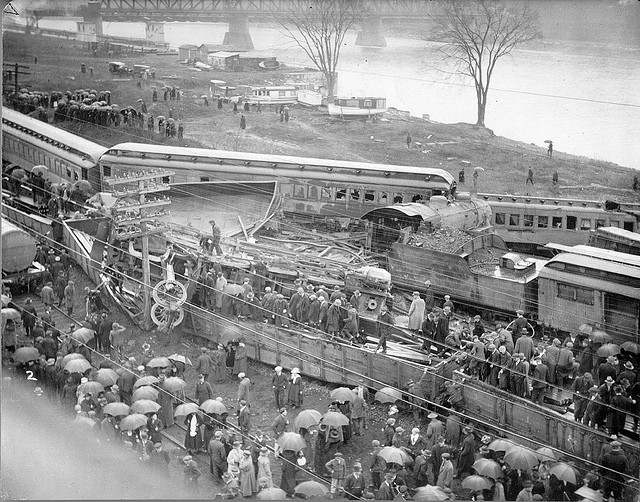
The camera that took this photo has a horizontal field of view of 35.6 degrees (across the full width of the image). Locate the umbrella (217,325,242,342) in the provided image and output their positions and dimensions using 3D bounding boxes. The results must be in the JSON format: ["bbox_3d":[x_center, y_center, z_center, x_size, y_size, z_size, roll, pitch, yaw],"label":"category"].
[{"bbox_3d":[-2.683,2.409,28.867,0.395,0.206,0.535,-2,9,-43],"label":"umbrella"}]

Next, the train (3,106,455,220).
[{"bbox_3d":[-3.030,-3.304,38.553,13.584,2.334,2.276,11,25,20],"label":"train"}]

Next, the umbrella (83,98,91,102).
[{"bbox_3d":[-10.738,-6.893,45.819,0.368,0.182,0.318,14,14,42],"label":"umbrella"}]

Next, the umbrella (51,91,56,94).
[{"bbox_3d":[-12.440,-7.376,46.546,0.182,0.062,0.314,0,11,-24],"label":"umbrella"}]

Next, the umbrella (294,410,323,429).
[{"bbox_3d":[-0.274,4.294,25.335,0.679,0.393,0.517,2,10,-15],"label":"umbrella"}]

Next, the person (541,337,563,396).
[{"bbox_3d":[6.315,3.103,27.287,0.562,1.227,0.579,10,-7,34],"label":"person"}]

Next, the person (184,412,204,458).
[{"bbox_3d":[-3.285,4.728,25.945,0.537,1.312,0.472,4,15,8],"label":"person"}]

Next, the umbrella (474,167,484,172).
[{"bbox_3d":[6.517,-3.291,40.730,0.366,0.169,0.268,6,10,10],"label":"umbrella"}]

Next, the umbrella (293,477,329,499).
[{"bbox_3d":[-0.199,5.647,23.576,0.747,0.360,0.337,4,10,-1],"label":"umbrella"}]

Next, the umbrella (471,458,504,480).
[{"bbox_3d":[4.029,5.170,23.839,0.493,0.364,0.503,9,42,-8],"label":"umbrella"}]

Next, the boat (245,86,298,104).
[{"bbox_3d":[-2.113,-6.805,43.853,1.643,0.617,0.876,-1,24,2],"label":"boat"}]

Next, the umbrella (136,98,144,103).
[{"bbox_3d":[-8.126,-6.763,45.086,0.334,0.207,0.169,4,10,-1],"label":"umbrella"}]

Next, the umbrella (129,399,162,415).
[{"bbox_3d":[-4.476,3.995,25.394,0.712,0.302,0.502,3,10,-9],"label":"umbrella"}]

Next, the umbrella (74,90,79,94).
[{"bbox_3d":[-11.333,-7.366,46.481,0.217,0.178,0.245,4,10,-5],"label":"umbrella"}]

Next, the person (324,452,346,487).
[{"bbox_3d":[0.409,5.338,24.500,0.485,0.759,0.362,5,10,3],"label":"person"}]

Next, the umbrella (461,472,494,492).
[{"bbox_3d":[3.791,5.527,23.783,0.647,0.323,0.655,-1,9,-3],"label":"umbrella"}]

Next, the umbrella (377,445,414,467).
[{"bbox_3d":[1.850,5.063,24.354,0.835,0.586,0.887,6,10,6],"label":"umbrella"}]

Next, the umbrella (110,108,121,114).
[{"bbox_3d":[-9.188,-6.327,45.042,0.288,0.256,0.291,27,45,18],"label":"umbrella"}]

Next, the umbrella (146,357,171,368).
[{"bbox_3d":[-4.416,3.112,27.396,0.635,0.292,0.366,3,10,-9],"label":"umbrella"}]

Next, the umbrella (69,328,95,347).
[{"bbox_3d":[-6.882,2.504,28.802,0.538,0.396,1.146,4,10,-4],"label":"umbrella"}]

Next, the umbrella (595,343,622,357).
[{"bbox_3d":[7.959,2.762,27.403,0.629,0.328,0.650,5,10,3],"label":"umbrella"}]

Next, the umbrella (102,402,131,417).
[{"bbox_3d":[-5.108,4.022,25.258,0.420,0.151,0.412,-1,10,-37],"label":"umbrella"}]

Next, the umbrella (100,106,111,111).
[{"bbox_3d":[-9.617,-6.316,44.607,0.445,0.160,0.311,9,11,21],"label":"umbrella"}]

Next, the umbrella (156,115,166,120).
[{"bbox_3d":[-7.180,-5.965,44.986,0.400,0.161,0.139,8,10,17],"label":"umbrella"}]

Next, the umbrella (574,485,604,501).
[{"bbox_3d":[6.487,5.844,24.010,0.614,0.180,0.384,13,13,38],"label":"umbrella"}]

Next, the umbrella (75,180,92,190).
[{"bbox_3d":[-8.906,-2.456,37.626,0.471,0.330,0.852,4,10,-2],"label":"umbrella"}]

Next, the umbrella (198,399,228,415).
[{"bbox_3d":[-2.768,4.050,25.587,0.727,0.415,0.428,6,10,5],"label":"umbrella"}]

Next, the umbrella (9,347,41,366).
[{"bbox_3d":[-8.123,2.886,27.598,0.517,0.211,0.506,-11,22,-32],"label":"umbrella"}]

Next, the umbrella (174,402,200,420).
[{"bbox_3d":[-3.448,4.080,25.558,0.376,0.313,0.385,-4,7,-8],"label":"umbrella"}]

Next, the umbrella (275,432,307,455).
[{"bbox_3d":[-0.720,4.779,24.590,0.683,0.570,0.490,4,10,-3],"label":"umbrella"}]

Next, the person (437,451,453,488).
[{"bbox_3d":[3.076,5.275,24.306,0.339,0.807,0.961,6,10,7],"label":"person"}]

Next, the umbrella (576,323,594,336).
[{"bbox_3d":[7.610,2.228,28.543,0.432,0.217,0.576,7,10,12],"label":"umbrella"}]

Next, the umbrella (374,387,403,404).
[{"bbox_3d":[1.867,3.950,26.982,0.648,0.378,0.837,8,11,18],"label":"umbrella"}]

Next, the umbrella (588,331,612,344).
[{"bbox_3d":[7.802,2.423,27.832,0.375,0.137,0.388,9,22,24],"label":"umbrella"}]

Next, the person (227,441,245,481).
[{"bbox_3d":[-2.033,5.096,24.134,0.407,1.021,0.530,3,10,-5],"label":"person"}]

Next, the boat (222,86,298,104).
[{"bbox_3d":[-2.606,-6.851,44.206,3.115,0.829,0.965,6,20,12],"label":"boat"}]

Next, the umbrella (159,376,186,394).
[{"bbox_3d":[-3.935,3.610,26.652,0.638,0.383,0.420,4,10,-2],"label":"umbrella"}]

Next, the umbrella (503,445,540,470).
[{"bbox_3d":[4.864,4.991,24.045,0.812,0.457,0.545,6,10,10],"label":"umbrella"}]

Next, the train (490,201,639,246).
[{"bbox_3d":[8.606,-0.904,34.427,4.789,1.452,0.829,7,10,20],"label":"train"}]

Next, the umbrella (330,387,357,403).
[{"bbox_3d":[0.640,3.818,26.305,0.511,0.190,0.508,-3,18,-21],"label":"umbrella"}]

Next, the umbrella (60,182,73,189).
[{"bbox_3d":[-9.534,-2.437,37.434,0.214,0.293,0.735,-5,14,-26],"label":"umbrella"}]

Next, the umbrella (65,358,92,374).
[{"bbox_3d":[-6.488,3.106,26.840,0.710,0.334,0.481,2,10,-15],"label":"umbrella"}]

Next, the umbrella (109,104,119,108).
[{"bbox_3d":[-9.362,-6.580,45.532,0.399,0.129,0.370,-5,14,-43],"label":"umbrella"}]
